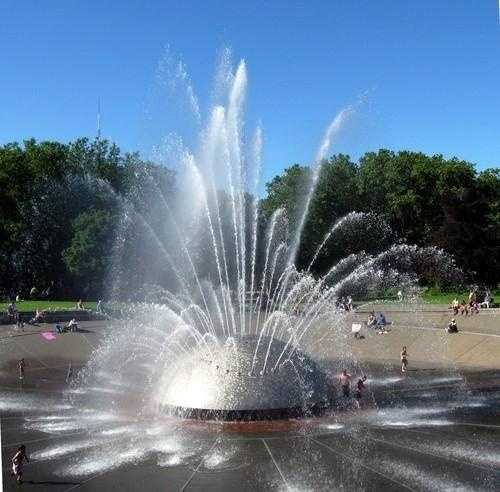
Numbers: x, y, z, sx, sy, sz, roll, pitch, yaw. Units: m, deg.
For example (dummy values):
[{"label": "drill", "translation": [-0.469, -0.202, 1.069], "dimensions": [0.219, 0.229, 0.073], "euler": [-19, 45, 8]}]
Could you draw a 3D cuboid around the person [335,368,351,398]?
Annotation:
[{"label": "person", "translation": [3.317, 4.835, 19.316], "dimensions": [0.391, 1.003, 0.795], "euler": [-1, 1, 10]}]
